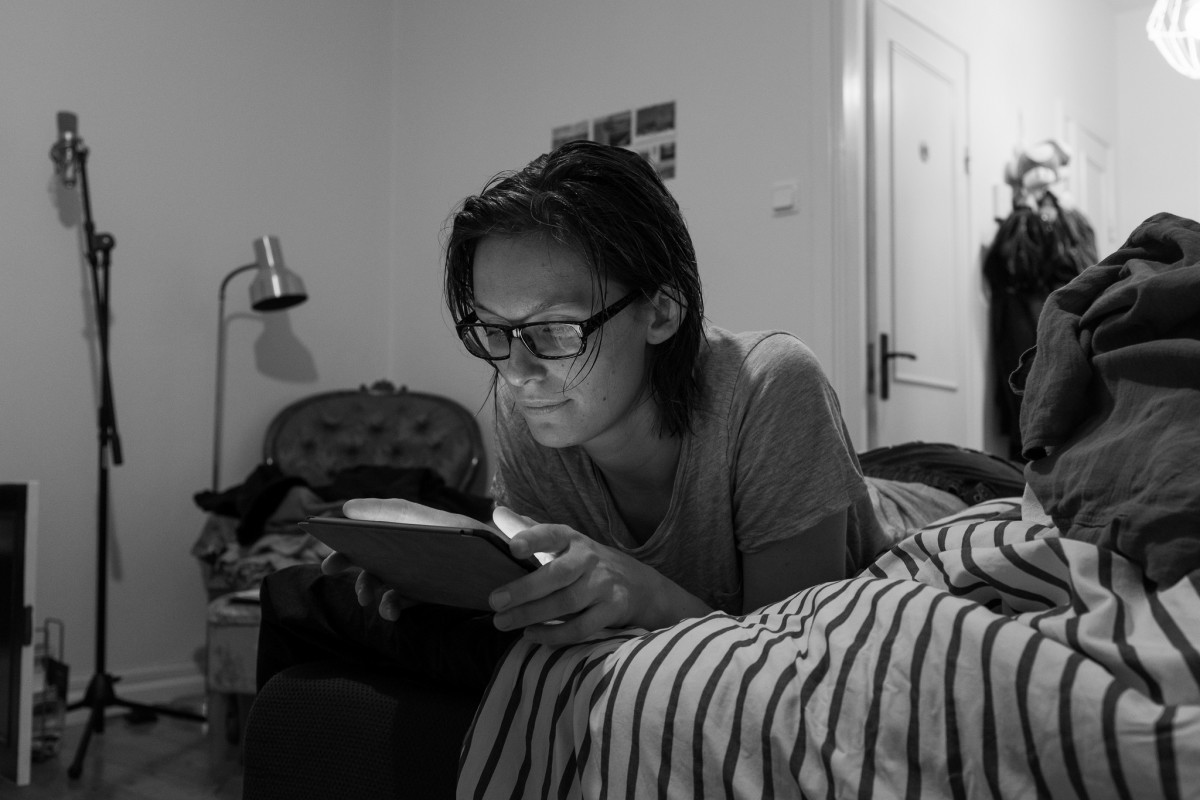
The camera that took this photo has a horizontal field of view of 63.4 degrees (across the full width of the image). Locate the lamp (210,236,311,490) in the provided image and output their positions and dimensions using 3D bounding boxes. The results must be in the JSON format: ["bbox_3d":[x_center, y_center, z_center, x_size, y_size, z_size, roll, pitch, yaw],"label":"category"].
[{"bbox_3d":[-1.292,-0.279,3.641,0.277,1.179,0.319,3,3,-8],"label":"lamp"}]

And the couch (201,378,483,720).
[{"bbox_3d":[-0.853,0.542,3.449,1.116,1.212,0.955,1,6,-27],"label":"couch"}]

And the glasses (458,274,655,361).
[{"bbox_3d":[-0.087,-0.111,1.498,0.308,0.097,0.151,-4,5,15],"label":"glasses"}]
